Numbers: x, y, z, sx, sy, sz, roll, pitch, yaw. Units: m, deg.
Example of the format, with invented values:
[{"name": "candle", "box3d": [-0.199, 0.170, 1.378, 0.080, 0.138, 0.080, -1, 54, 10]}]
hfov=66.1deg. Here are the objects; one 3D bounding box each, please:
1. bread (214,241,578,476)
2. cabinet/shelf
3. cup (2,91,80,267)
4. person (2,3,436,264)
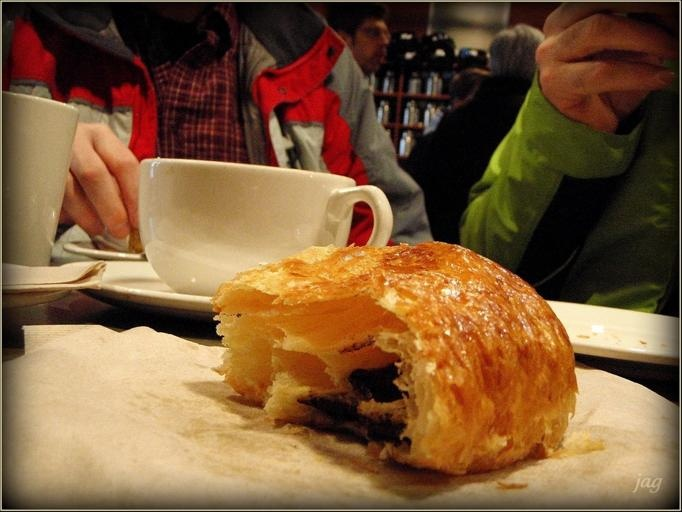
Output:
[{"name": "bread", "box3d": [0.075, 0.119, 0.662, 0.351, 0.175, 0.343, -1, 12, -31]}, {"name": "cabinet/shelf", "box3d": [0.275, -0.591, 2.158, 0.400, 0.349, 0.117, 6, 16, 5]}, {"name": "cup", "box3d": [-0.580, -0.134, 1.000, 0.072, 0.325, 0.142, 11, 11, 20]}, {"name": "person", "box3d": [-0.469, -0.540, 2.199, 1.419, 0.620, 0.884, 16, -1, -2]}]
